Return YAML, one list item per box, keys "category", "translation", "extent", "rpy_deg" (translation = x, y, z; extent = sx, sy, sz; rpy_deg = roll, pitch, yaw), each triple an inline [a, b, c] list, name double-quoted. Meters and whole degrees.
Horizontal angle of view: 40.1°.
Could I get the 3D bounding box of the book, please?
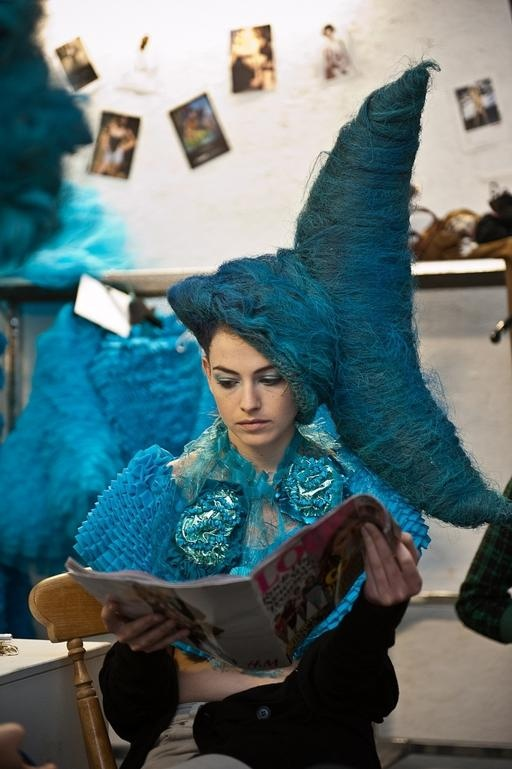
- category: "book"
  translation: [-0.019, 0.203, 0.678]
  extent: [0.265, 0.223, 0.083]
  rpy_deg: [-5, 58, -1]
